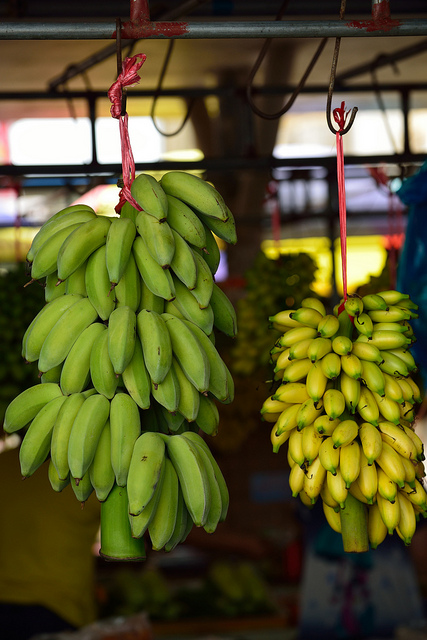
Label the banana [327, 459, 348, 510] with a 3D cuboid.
[{"bbox_3d":[0.212,0.274,0.984,0.029,0.085,0.028,-7,14,19],"label":"banana"}]

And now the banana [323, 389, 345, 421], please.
[{"bbox_3d":[0.198,0.135,0.955,0.029,0.028,0.052,17,34,4],"label":"banana"}]

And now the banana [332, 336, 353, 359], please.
[{"bbox_3d":[0.216,0.043,0.979,0.024,0.027,0.038,40,6,-26],"label":"banana"}]

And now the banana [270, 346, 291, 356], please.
[{"bbox_3d":[0.129,0.061,1.117,0.015,0.011,0.044,-11,-7,-29],"label":"banana"}]

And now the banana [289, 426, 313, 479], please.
[{"bbox_3d":[0.145,0.231,1.019,0.034,0.084,0.020,13,-40,-31],"label":"banana"}]

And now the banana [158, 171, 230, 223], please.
[{"bbox_3d":[-0.049,-0.226,1.002,0.051,0.049,0.159,-39,30,-4],"label":"banana"}]

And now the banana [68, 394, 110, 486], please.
[{"bbox_3d":[-0.166,0.181,0.863,0.045,0.133,0.045,18,-26,0],"label":"banana"}]

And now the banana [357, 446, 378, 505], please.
[{"bbox_3d":[0.253,0.255,0.975,0.028,0.096,0.036,-6,-13,-15],"label":"banana"}]

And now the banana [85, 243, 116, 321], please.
[{"bbox_3d":[-0.172,-0.057,0.923,0.042,0.120,0.040,-4,-12,17],"label":"banana"}]

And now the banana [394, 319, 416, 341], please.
[{"bbox_3d":[0.362,0.020,1.102,0.019,0.051,0.014,-29,-12,-49],"label":"banana"}]

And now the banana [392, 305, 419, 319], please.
[{"bbox_3d":[0.347,-0.014,1.057,0.038,0.010,0.013,29,-11,-9],"label":"banana"}]

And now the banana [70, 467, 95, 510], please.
[{"bbox_3d":[-0.206,0.250,0.905,0.027,0.078,0.028,-11,-11,19],"label":"banana"}]

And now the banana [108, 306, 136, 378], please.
[{"bbox_3d":[-0.135,0.026,0.852,0.044,0.112,0.039,10,-33,-19],"label":"banana"}]

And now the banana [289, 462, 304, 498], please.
[{"bbox_3d":[0.148,0.281,1.035,0.022,0.064,0.024,-1,-8,34],"label":"banana"}]

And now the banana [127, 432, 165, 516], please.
[{"bbox_3d":[-0.098,0.213,0.833,0.053,0.048,0.149,4,34,1],"label":"banana"}]

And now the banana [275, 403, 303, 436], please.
[{"bbox_3d":[0.132,0.176,1.030,0.025,0.025,0.072,18,57,42],"label":"banana"}]

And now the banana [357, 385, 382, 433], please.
[{"bbox_3d":[0.263,0.148,0.986,0.028,0.081,0.027,-25,0,12],"label":"banana"}]

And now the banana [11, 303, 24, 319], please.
[{"bbox_3d":[-0.756,-0.035,2.249,0.017,0.036,0.062,-28,1,35],"label":"banana"}]

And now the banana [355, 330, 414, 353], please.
[{"bbox_3d":[0.305,0.035,1.023,0.128,0.037,0.035,2,23,0],"label":"banana"}]

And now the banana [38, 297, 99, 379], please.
[{"bbox_3d":[-0.236,0.021,0.926,0.055,0.160,0.049,28,-36,-1],"label":"banana"}]

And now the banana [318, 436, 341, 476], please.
[{"bbox_3d":[0.195,0.229,0.975,0.038,0.026,0.073,-5,38,4],"label":"banana"}]

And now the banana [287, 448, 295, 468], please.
[{"bbox_3d":[0.144,0.257,1.082,0.009,0.030,0.011,-11,-7,9],"label":"banana"}]

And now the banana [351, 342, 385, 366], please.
[{"bbox_3d":[0.262,0.054,0.997,0.025,0.025,0.076,-34,24,-11],"label":"banana"}]

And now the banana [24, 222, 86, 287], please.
[{"bbox_3d":[-0.260,-0.104,0.992,0.128,0.041,0.041,-47,7,-7],"label":"banana"}]

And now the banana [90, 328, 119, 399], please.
[{"bbox_3d":[-0.163,0.068,0.864,0.048,0.092,0.033,2,-1,44],"label":"banana"}]

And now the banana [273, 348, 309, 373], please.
[{"bbox_3d":[0.144,0.069,1.084,0.071,0.025,0.019,-44,11,-19],"label":"banana"}]

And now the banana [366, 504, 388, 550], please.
[{"bbox_3d":[0.292,0.371,1.049,0.031,0.090,0.028,-8,-6,33],"label":"banana"}]

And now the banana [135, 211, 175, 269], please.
[{"bbox_3d":[-0.084,-0.117,0.912,0.051,0.092,0.032,-26,-19,20],"label":"banana"}]

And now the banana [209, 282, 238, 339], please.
[{"bbox_3d":[0.028,-0.012,1.025,0.037,0.101,0.036,-37,17,-33],"label":"banana"}]

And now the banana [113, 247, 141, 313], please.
[{"bbox_3d":[-0.132,-0.062,0.924,0.030,0.102,0.039,7,-9,-17],"label":"banana"}]

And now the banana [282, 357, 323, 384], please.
[{"bbox_3d":[0.156,0.094,1.047,0.024,0.026,0.081,22,-50,-29],"label":"banana"}]

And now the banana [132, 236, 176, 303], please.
[{"bbox_3d":[-0.098,-0.075,0.933,0.040,0.123,0.042,-48,-30,18],"label":"banana"}]

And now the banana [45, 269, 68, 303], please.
[{"bbox_3d":[-0.267,-0.054,1.011,0.039,0.057,0.017,21,-10,2],"label":"banana"}]

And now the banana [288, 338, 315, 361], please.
[{"bbox_3d":[0.156,0.047,1.040,0.026,0.018,0.052,35,52,26],"label":"banana"}]

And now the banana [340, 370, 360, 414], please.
[{"bbox_3d":[0.229,0.119,0.976,0.022,0.075,0.028,-9,9,-8],"label":"banana"}]

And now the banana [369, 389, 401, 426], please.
[{"bbox_3d":[0.297,0.150,0.989,0.026,0.082,0.026,-43,-8,12],"label":"banana"}]

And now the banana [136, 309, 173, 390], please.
[{"bbox_3d":[-0.097,0.037,0.873,0.044,0.124,0.047,-11,-20,-19],"label":"banana"}]
